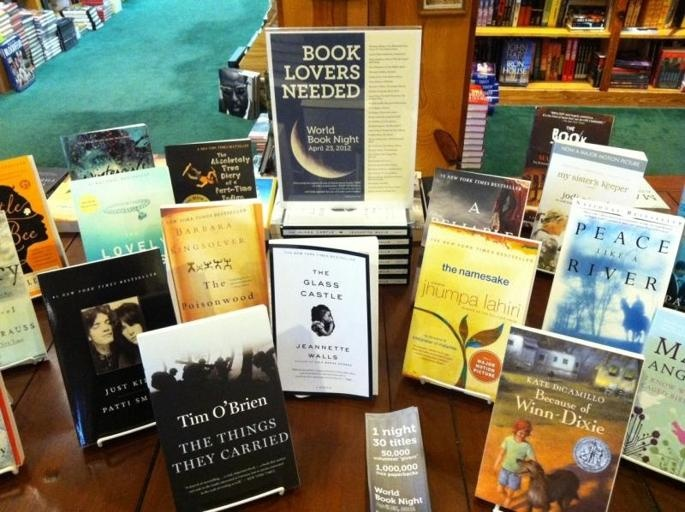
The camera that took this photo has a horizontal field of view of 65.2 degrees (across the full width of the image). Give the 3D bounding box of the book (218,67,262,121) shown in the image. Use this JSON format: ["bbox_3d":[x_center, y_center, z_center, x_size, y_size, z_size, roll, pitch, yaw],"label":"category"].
[{"bbox_3d":[-0.922,-1.454,4.801,0.514,0.405,0.103,22,35,35],"label":"book"}]
